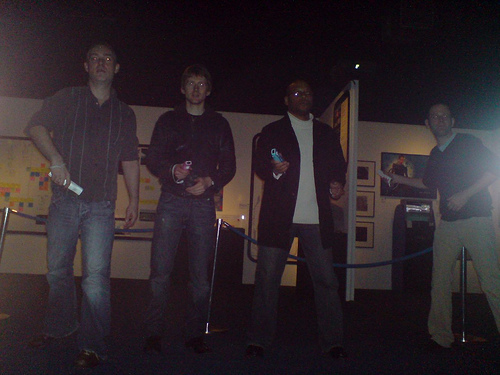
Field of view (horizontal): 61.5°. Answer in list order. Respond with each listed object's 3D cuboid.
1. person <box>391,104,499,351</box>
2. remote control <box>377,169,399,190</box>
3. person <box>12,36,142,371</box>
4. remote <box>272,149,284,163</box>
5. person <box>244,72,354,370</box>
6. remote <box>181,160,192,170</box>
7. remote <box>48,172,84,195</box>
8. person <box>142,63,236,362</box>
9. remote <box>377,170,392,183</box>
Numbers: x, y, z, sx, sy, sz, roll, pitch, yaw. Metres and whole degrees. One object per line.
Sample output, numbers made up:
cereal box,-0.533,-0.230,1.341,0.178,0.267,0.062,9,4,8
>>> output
person,1.979,0.330,4.028,0.680,2.299,0.490,2,-2,18
remote control,1.894,-0.096,5.808,0.335,0.252,0.084,29,44,20
person,-1.436,0.096,3.526,0.847,2.081,0.620,2,-1,7
remote,0.237,-0.267,3.578,0.071,0.109,0.042,-6,35,33
person,0.444,0.248,3.687,0.900,2.427,0.493,2,-1,-2
remote,-0.539,-0.197,3.587,0.070,0.072,0.053,13,25,-23
remote,-1.463,-0.041,3.366,0.399,0.042,0.096,29,-27,-22
person,-0.535,0.157,3.739,0.791,2.530,0.444,2,-2,-16
remote,1.373,-0.119,4.303,0.195,0.068,0.067,38,32,5
